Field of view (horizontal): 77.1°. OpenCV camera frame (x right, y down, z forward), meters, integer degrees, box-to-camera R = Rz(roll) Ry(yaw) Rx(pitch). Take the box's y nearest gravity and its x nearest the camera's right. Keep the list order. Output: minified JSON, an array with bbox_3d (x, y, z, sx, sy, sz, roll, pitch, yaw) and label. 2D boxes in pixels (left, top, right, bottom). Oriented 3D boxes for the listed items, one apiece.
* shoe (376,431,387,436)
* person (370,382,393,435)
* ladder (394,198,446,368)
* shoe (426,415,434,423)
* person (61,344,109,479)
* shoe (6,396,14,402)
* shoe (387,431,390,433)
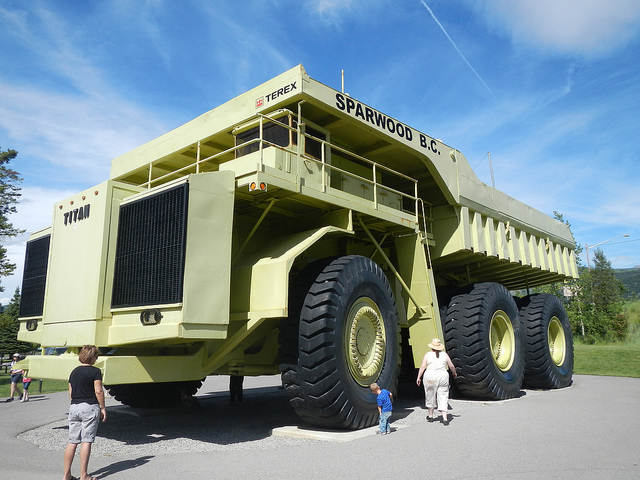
[{"bbox_3d":[0.968,3.062,6.398,0.132,0.055,0.044,0,-14,27],"label":"shoe"},{"bbox_3d":[1.023,2.761,6.655,0.318,0.755,0.483,-4,-15,7],"label":"person"},{"bbox_3d":[2.186,1.323,8.937,0.711,2.860,0.711,-9,-17,26],"label":"ladder"},{"bbox_3d":[2.038,3.318,7.477,0.089,0.119,0.261,-1,-27,11],"label":"shoe"},{"bbox_3d":[-3.113,2.213,5.393,0.494,1.564,1.297,7,-17,-29],"label":"person"},{"bbox_3d":[-10.381,5.346,13.524,0.096,0.101,0.259,2,-13,-12],"label":"shoe"},{"bbox_3d":[1.082,3.063,6.426,0.067,0.016,0.066,-2,-7,17],"label":"shoe"}]
